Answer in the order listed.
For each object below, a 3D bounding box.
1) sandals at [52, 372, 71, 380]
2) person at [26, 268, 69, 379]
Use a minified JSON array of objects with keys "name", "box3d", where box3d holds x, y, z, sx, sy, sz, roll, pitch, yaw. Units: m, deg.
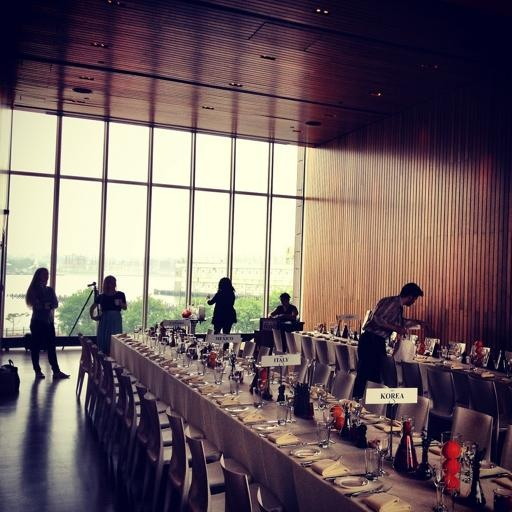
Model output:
[{"name":"sandals","box3d":[-3.462,2.148,8.464,0.229,0.132,0.132,2,-2,1]},{"name":"person","box3d":[-3.712,1.200,8.402,0.670,2.133,0.596,4,-1,-26]}]
